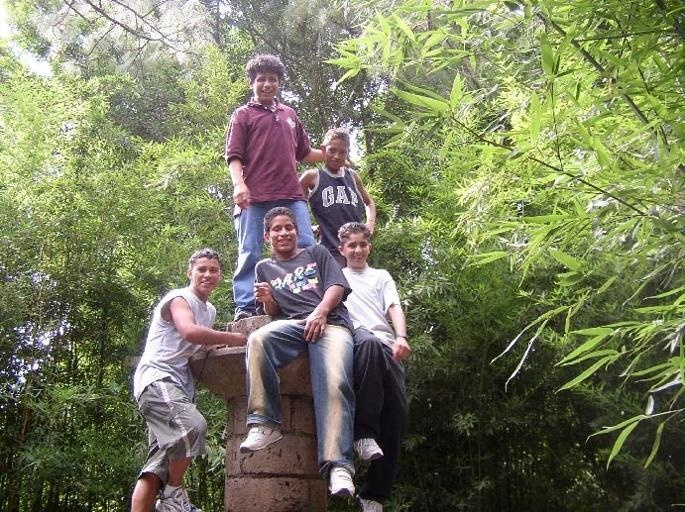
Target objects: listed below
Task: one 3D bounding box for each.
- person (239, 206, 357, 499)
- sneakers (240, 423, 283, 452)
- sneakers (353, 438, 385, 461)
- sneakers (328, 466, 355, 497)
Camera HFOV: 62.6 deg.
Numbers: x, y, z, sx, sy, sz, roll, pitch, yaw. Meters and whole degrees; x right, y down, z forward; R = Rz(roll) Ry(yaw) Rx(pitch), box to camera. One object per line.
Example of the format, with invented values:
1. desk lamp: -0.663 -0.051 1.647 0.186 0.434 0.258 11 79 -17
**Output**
1. person: -0.206 0.389 2.839 0.530 1.431 0.746 2 -12 -6
2. sneakers: -0.354 0.824 2.563 0.088 0.108 0.232 -5 -5 39
3. sneakers: 0.119 0.925 2.674 0.114 0.101 0.137 2 -12 -7
4. sneakers: -0.003 0.971 2.448 0.086 0.055 0.138 18 20 -14
